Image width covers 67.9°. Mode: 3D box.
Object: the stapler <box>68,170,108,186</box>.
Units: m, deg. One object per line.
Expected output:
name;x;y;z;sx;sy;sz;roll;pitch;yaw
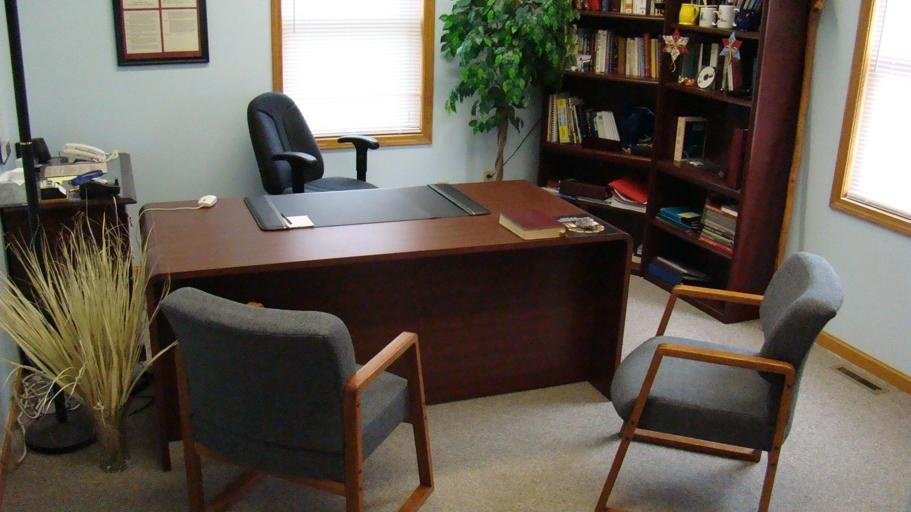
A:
stapler;-2.556;-0.555;4.734;0.118;0.051;0.211;10;18;25

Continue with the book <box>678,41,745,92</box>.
book;2.070;-1.525;5.434;0.181;0.373;0.416;-11;23;-36

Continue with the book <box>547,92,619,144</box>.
book;1.131;-1.252;6.311;0.487;0.203;0.616;0;23;-2

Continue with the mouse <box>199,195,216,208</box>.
mouse;-1.664;-0.389;4.598;0.093;0.034;0.120;3;20;7

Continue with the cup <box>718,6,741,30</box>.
cup;2.126;-1.878;5.310;0.137;0.173;0.068;5;23;18

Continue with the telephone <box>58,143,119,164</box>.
telephone;-2.826;-0.797;5.243;0.363;0.126;0.231;-17;33;-32

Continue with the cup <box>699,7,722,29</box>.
cup;2.018;-1.910;5.407;0.125;0.133;0.186;-2;26;-3

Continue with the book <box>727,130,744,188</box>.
book;2.181;-0.758;5.261;0.095;0.435;0.130;6;23;21

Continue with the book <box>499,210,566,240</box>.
book;0.499;-0.209;4.422;0.318;0.131;0.316;-11;22;-23
